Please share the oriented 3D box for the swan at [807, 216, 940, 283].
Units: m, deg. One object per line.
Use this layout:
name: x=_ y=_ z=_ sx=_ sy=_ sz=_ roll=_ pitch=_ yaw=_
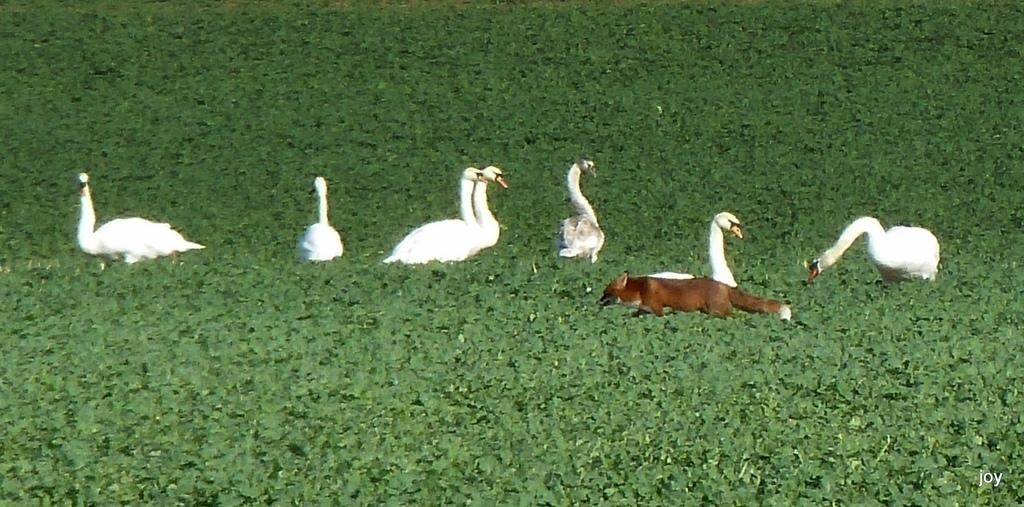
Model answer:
swan: x=8.224 y=0.014 z=20.786 sx=2.799 sy=1.091 sz=1.164 roll=3 pitch=56 yaw=-1
